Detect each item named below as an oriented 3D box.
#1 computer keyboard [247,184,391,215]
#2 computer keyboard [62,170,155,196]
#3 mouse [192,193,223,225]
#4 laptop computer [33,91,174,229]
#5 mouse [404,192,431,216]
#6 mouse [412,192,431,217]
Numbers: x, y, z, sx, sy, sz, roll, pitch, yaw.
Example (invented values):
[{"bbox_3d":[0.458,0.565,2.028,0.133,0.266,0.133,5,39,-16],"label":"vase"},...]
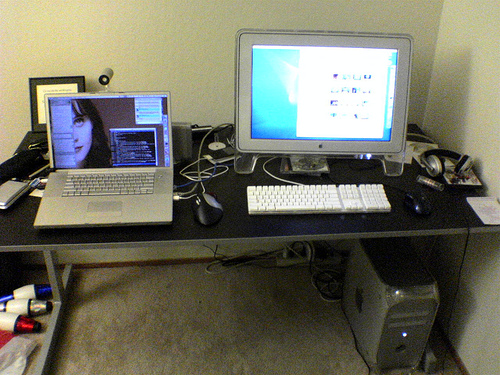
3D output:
[{"bbox_3d":[0.307,0.052,1.947,0.615,0.064,0.180,-1,33,-3],"label":"computer keyboard"},{"bbox_3d":[-0.639,-0.021,1.929,0.411,0.033,0.157,0,56,-17],"label":"computer keyboard"},{"bbox_3d":[-0.196,0.091,1.862,0.143,0.092,0.112,18,31,34],"label":"mouse"},{"bbox_3d":[-0.615,-0.146,1.823,0.556,0.391,0.473,-2,30,-11],"label":"laptop computer"},{"bbox_3d":[0.764,0.051,1.928,0.092,0.050,0.162,-15,31,0],"label":"mouse"},{"bbox_3d":[0.763,0.079,1.898,0.075,0.072,0.092,-5,25,-8],"label":"mouse"}]
